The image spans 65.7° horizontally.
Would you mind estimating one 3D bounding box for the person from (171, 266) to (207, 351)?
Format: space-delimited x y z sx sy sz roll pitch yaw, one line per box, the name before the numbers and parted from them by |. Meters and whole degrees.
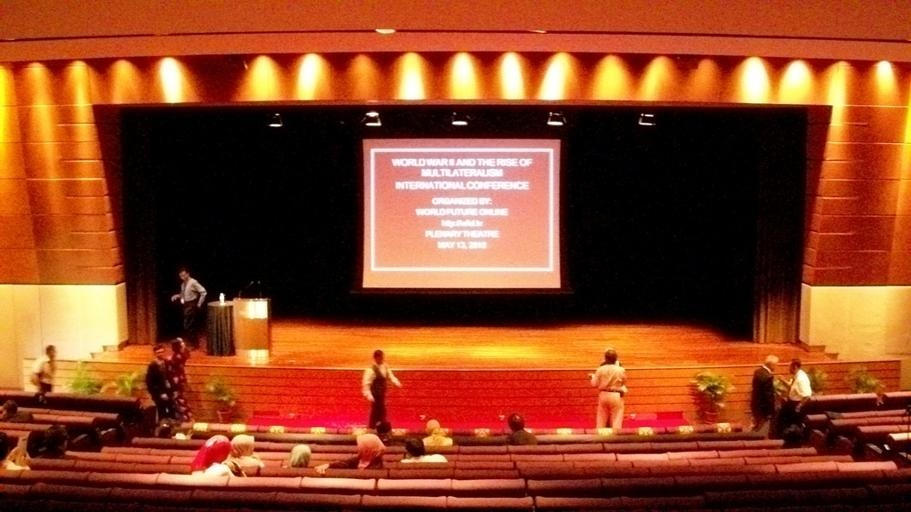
person | -5.733 1.118 15.225 0.604 1.652 1.219 -1 1 -21
